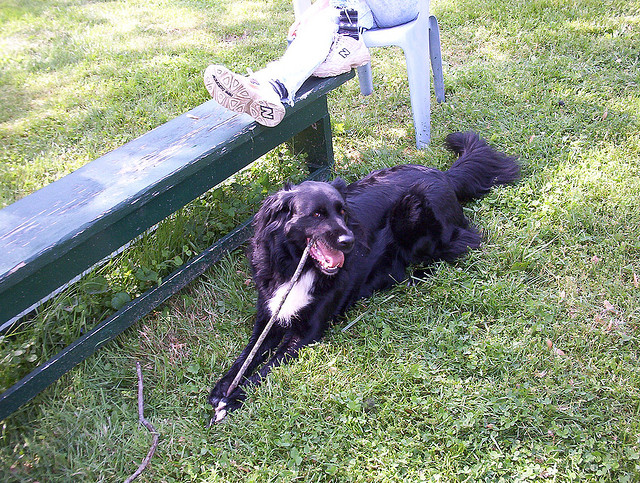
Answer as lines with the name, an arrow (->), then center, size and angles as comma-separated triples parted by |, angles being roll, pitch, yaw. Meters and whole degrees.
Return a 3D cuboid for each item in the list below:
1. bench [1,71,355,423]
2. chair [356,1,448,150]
bench -> -0.970, -0.209, 4.361 | 3.684, 1.482, 1.338 | -25, 41, -28
chair -> 0.848, -1.705, 5.685 | 0.920, 1.572, 0.988 | 12, 60, 26
